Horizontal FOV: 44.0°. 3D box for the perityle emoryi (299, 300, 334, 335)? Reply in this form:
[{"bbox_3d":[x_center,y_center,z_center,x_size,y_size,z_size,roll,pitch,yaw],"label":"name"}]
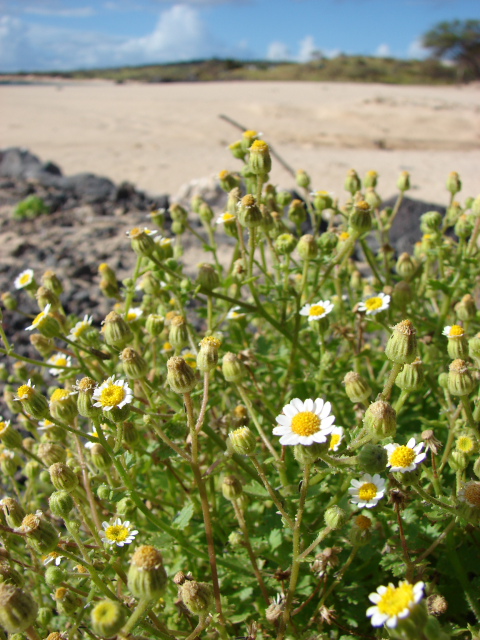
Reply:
[{"bbox_3d":[0.356,-0.014,2.813,0.133,0.137,0.111,-24,47,-4],"label":"perityle emoryi"}]

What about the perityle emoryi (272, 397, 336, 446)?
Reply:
[{"bbox_3d":[0.189,0.298,1.722,0.184,0.057,0.171,-7,5,-36],"label":"perityle emoryi"}]

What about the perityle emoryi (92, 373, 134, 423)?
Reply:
[{"bbox_3d":[-0.446,0.269,2.089,0.129,0.149,0.212,-8,22,-11],"label":"perityle emoryi"}]

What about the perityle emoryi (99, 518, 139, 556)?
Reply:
[{"bbox_3d":[-0.419,0.749,2.059,0.129,0.043,0.123,-24,53,-20],"label":"perityle emoryi"}]

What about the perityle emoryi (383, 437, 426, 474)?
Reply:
[{"bbox_3d":[0.525,0.425,1.846,0.128,0.088,0.093,-16,25,-30],"label":"perityle emoryi"}]
